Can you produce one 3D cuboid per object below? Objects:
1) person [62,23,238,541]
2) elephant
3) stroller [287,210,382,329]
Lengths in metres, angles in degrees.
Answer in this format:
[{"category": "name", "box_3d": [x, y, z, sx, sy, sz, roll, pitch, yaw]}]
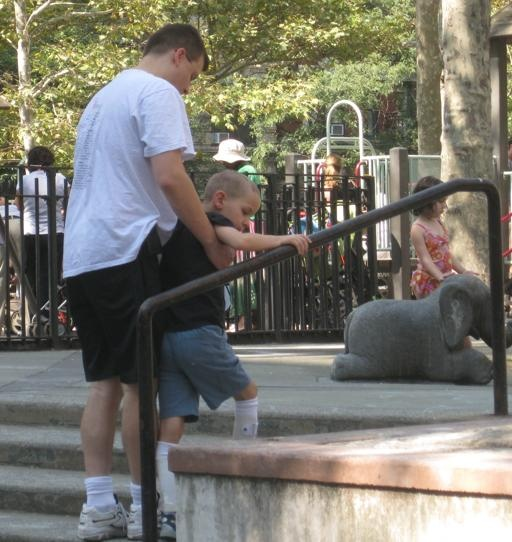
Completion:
[{"category": "person", "box_3d": [-0.520, 0.047, 5.935, 0.791, 2.284, 0.501, -7, 0, -6]}, {"category": "elephant", "box_3d": [0.986, 0.386, 8.268, 1.103, 0.717, 0.544, -1, 0, -5]}, {"category": "stroller", "box_3d": [0.638, -0.011, 11.770, 0.677, 1.224, 0.930, -4, -1, 1]}]
